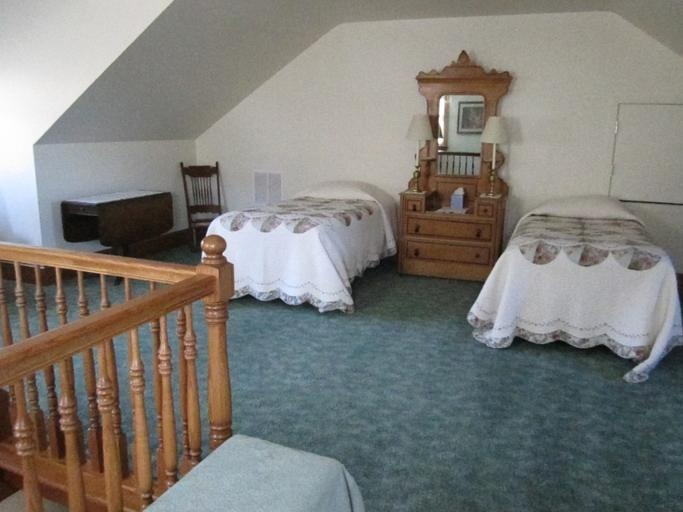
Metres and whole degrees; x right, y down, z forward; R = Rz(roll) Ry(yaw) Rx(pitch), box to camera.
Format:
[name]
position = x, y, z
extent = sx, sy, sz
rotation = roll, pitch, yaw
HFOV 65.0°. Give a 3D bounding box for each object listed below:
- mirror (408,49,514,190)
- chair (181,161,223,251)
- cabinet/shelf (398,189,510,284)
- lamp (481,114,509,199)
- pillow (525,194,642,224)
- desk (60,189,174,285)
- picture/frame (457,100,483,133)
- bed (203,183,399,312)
[mirror]
position = 1.271, -1.471, 5.557
extent = 1.242, 1.838, 0.178
rotation = 5, 16, 22
[chair]
position = -1.604, -0.590, 6.394
extent = 0.437, 1.004, 0.418
rotation = -5, 7, -23
[cabinet/shelf]
position = 1.087, -0.173, 5.260
extent = 0.803, 0.735, 0.347
rotation = 4, 15, 17
[lamp]
position = 1.520, -1.010, 5.388
extent = 0.256, 0.784, 0.462
rotation = 5, 12, 15
[pillow]
position = 2.201, -0.448, 4.939
extent = 0.535, 0.145, 0.523
rotation = 5, 15, 22
[desk]
position = -2.284, -0.241, 5.701
extent = 0.574, 0.884, 1.098
rotation = 7, 16, 24
[picture/frame]
position = 1.354, -1.441, 5.577
extent = 0.294, 0.366, 0.016
rotation = 3, -11, 11
[bed]
position = -0.249, -0.136, 5.019
extent = 1.298, 0.960, 1.705
rotation = 9, 14, 28
